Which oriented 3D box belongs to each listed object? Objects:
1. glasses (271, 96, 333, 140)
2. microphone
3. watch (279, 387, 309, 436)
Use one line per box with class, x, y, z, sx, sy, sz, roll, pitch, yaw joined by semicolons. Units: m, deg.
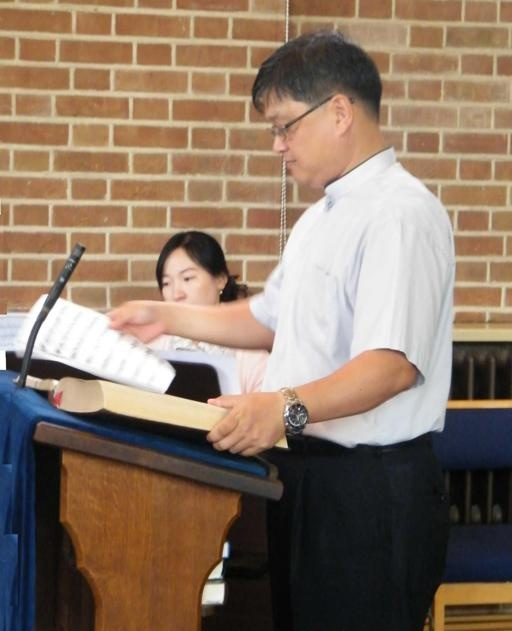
glasses;0.084;-0.353;2.583;0.077;0.023;0.077;-41;9;-3
microphone;-0.407;0.007;2.771;0.041;0.314;0.039;21;5;-4
watch;0.062;0.166;2.349;0.043;0.074;0.064;-17;0;-23
